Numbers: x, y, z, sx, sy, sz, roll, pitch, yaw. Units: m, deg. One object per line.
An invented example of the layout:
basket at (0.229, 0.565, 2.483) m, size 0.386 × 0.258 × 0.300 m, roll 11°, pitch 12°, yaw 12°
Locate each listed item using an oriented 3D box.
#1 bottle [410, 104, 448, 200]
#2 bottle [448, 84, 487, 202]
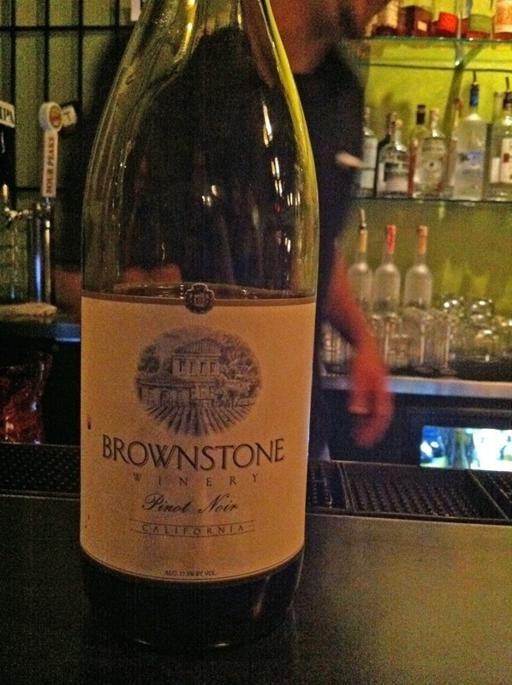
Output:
bottle at (0.500, -0.547, 2.195) m, size 0.100 × 0.256 × 0.147 m, roll 7°, pitch 9°, yaw 30°
bottle at (0.617, -0.582, 2.209) m, size 0.094 × 0.340 × 0.166 m, roll 5°, pitch 8°, yaw 14°
